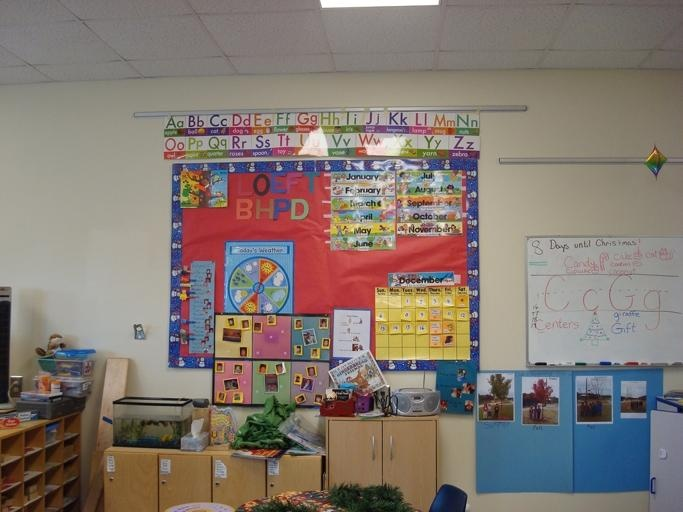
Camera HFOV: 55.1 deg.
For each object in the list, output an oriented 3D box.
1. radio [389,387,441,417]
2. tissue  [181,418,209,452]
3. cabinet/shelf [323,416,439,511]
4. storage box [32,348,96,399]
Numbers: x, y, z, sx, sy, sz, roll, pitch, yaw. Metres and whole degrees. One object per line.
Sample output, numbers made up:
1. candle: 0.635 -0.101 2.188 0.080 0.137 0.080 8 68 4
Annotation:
1. radio: 0.594 1.163 5.207 0.286 0.140 0.222 0 -4 3
2. tissue : -1.151 1.443 5.294 0.202 0.267 0.276 1 -5 2
3. cabinet/shelf: 0.313 1.587 4.950 0.698 0.654 0.278 0 -5 1
4. storage box: -2.279 0.977 5.502 0.496 0.476 0.323 -1 -5 2
